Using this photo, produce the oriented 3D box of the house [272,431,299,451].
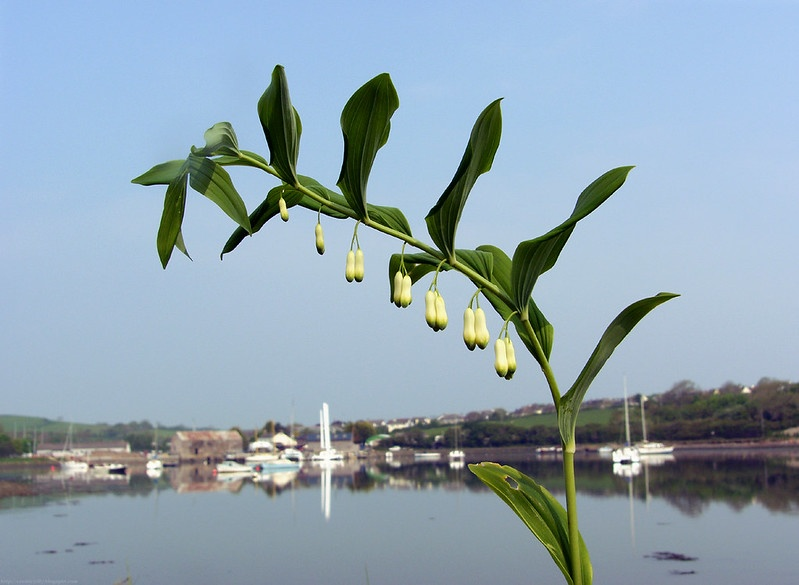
[{"bbox_3d":[-15.108,19.284,125.902,1.723,1.269,2.825,0,-18,17],"label":"house"}]
